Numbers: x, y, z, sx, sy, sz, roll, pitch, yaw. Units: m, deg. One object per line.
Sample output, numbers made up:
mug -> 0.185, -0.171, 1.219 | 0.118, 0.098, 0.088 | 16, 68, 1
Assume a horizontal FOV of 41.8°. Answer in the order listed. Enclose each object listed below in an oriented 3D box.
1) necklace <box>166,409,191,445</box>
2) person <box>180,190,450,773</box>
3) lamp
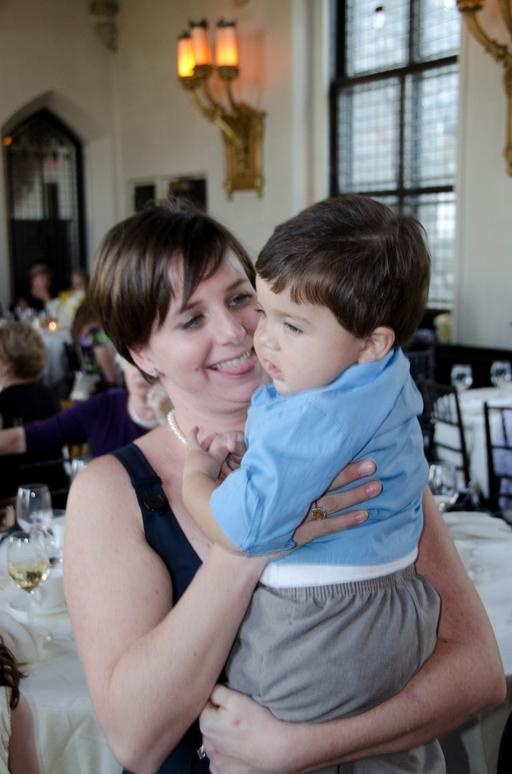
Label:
necklace -> -0.147, 0.073, 1.204 | 0.045, 0.053, 0.015 | -4, -10, 9
person -> 0.084, 0.176, 0.924 | 0.362, 0.862, 0.263 | -4, 9, -1
lamp -> -0.097, -1.049, 2.510 | 0.222, 0.720, 0.451 | 1, 9, 25
